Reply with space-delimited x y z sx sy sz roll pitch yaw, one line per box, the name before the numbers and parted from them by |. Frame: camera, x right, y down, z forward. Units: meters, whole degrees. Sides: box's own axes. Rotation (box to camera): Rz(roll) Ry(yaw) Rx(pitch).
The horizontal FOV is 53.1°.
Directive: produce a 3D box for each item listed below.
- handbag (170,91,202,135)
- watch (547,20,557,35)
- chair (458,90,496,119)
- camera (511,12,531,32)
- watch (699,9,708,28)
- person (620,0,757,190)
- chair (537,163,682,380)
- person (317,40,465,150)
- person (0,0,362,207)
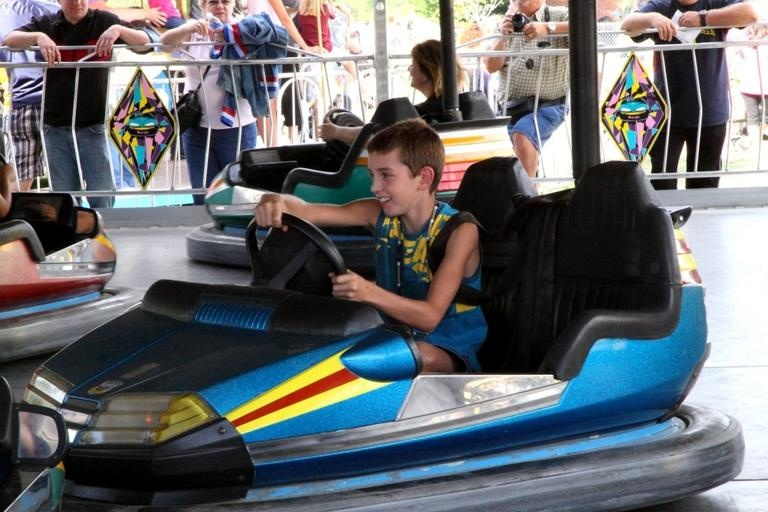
handbag | -1.238 -0.888 4.768 0.146 0.185 0.233 14 44 0
watch | 1.083 -1.372 4.568 0.051 0.066 0.069 1 -27 -6
chair | 0.488 -0.707 3.575 0.183 0.157 0.291 4 8 4
camera | 0.885 -1.405 4.615 0.137 0.110 0.120 7 12 -1
watch | 2.013 -1.414 4.532 0.068 0.085 0.099 -1 2 15
person | 1.961 -0.992 4.708 0.723 1.160 0.499 6 9 15
chair | 0.545 0.023 1.680 0.281 0.457 0.289 5 9 13
person | 0.156 -0.838 3.951 0.830 0.663 0.450 1 8 8
person | -1.384 -1.119 5.091 2.366 1.379 1.186 0 6 1
